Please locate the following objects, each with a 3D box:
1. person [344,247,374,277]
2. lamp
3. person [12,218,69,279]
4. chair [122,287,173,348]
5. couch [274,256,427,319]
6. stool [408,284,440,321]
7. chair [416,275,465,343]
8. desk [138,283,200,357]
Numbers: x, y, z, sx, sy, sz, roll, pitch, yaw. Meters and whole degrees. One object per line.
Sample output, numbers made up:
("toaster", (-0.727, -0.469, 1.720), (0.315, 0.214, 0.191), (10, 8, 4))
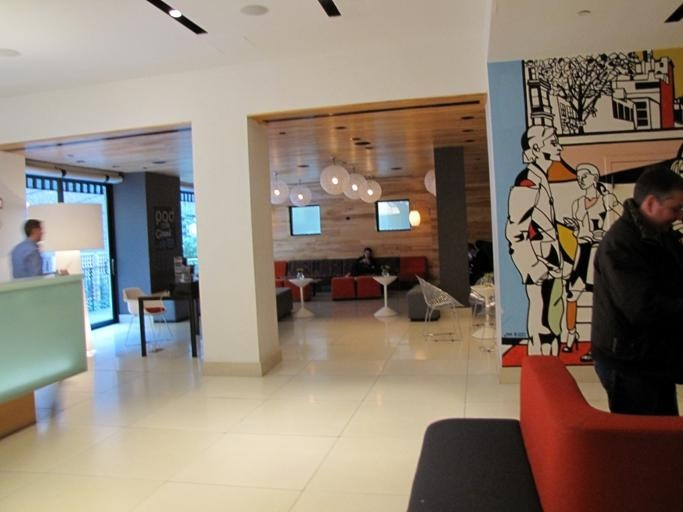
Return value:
("person", (0.609, 0.146, 14.380), (0.719, 0.688, 1.084), (-2, 4, 15))
("lamp", (0.428, -1.902, 12.546), (0.963, 0.960, 5.667), (11, 12, 38))
("person", (-4.452, -0.116, 7.132), (0.392, 0.792, 0.594), (-5, 5, -34))
("chair", (-3.466, 1.063, 9.200), (0.701, 0.961, 0.774), (1, -3, 22))
("couch", (0.359, 0.558, 14.461), (4.522, 1.077, 2.452), (-2, 4, 10))
("stool", (1.582, 0.931, 9.885), (0.487, 0.536, 0.768), (0, 5, 9))
("chair", (1.687, 0.873, 8.604), (0.795, 1.131, 0.900), (-1, 5, 2))
("desk", (-2.707, 0.982, 8.247), (1.106, 1.149, 0.727), (-2, 4, 16))
